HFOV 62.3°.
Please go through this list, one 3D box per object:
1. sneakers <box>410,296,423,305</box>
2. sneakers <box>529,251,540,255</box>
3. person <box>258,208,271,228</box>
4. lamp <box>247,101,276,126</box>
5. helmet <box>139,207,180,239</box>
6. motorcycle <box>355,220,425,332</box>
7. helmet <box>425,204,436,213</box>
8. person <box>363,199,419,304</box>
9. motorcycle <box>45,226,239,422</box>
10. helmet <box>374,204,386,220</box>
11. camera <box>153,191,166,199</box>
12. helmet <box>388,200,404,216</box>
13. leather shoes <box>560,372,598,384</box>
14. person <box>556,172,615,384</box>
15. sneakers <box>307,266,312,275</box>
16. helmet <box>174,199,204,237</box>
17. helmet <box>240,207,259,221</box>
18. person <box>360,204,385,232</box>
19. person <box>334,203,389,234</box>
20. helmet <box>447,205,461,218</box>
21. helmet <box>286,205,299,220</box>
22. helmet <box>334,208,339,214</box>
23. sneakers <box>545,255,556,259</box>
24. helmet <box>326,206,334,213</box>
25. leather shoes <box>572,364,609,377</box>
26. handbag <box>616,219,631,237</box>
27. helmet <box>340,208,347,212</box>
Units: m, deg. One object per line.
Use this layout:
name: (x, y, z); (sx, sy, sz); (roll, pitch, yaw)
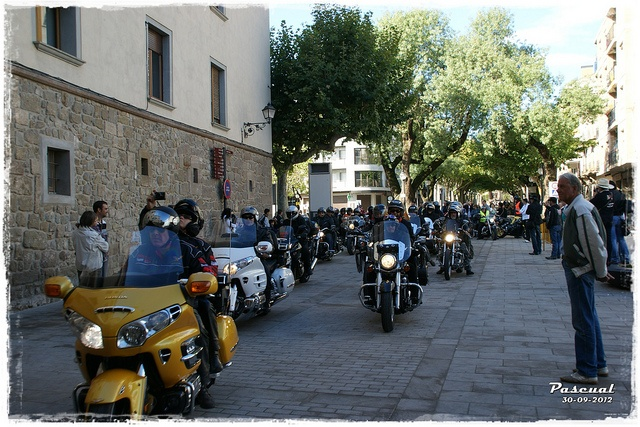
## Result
sneakers: (1.831, 1.658, 10.180); (0.158, 0.159, 0.057); (3, -5, 6)
sneakers: (8.557, 1.583, 21.252); (0.131, 0.157, 0.381); (-2, 9, -28)
person: (-2.252, 0.157, 21.404); (0.412, 0.728, 0.709); (0, 7, -9)
lamp: (-2.624, -4.358, 23.393); (1.361, 0.773, 0.875); (-5, -2, 20)
helmet: (-1.964, 0.164, 6.514); (0.324, 0.390, 0.405); (-10, -27, 30)
motorcycle: (1.285, 1.143, 10.176); (1.003, 2.004, 0.925); (-4, 4, -39)
helmet: (3.915, -0.178, 18.738); (0.273, 0.304, 0.348); (1, -7, 5)
person: (1.539, 0.554, 11.407); (0.995, 1.196, 2.067); (-2, -3, 9)
motorcycle: (-2.017, 1.243, 5.964); (1.514, 2.140, 0.958); (-3, 4, -29)
helmet: (1.539, -0.037, 13.844); (0.309, 0.389, 0.387); (-1, -5, 10)
camera: (-4.019, -0.428, 13.211); (0.378, 0.275, 0.102); (1, 8, 4)
helmet: (1.650, -0.099, 11.491); (0.261, 0.338, 0.352); (0, -7, 10)
leather shoes: (3.549, 2.257, 7.289); (0.450, 0.184, 0.171); (3, -6, 11)
person: (3.725, 0.857, 7.464); (0.657, 2.857, 0.845); (0, 4, 16)
sneakers: (-0.286, 1.670, 15.524); (0.194, 0.274, 0.146); (12, -20, -40)
helmet: (-1.832, 0.027, 7.384); (0.496, 0.479, 0.384); (-4, 7, -31)
helmet: (-1.407, -0.007, 10.598); (0.255, 0.295, 0.312); (-3, -12, 1)
person: (1.409, 0.069, 14.078); (0.421, 0.530, 0.955); (1, -1, 14)
person: (1.578, 0.244, 21.924); (1.070, 0.990, 1.780); (-3, -1, 23)
helmet: (3.914, -0.050, 15.481); (0.283, 0.343, 0.360); (-7, -23, 24)
helmet: (-0.824, -0.039, 15.935); (0.306, 0.372, 0.425); (-2, -1, 5)
helmet: (0.770, -0.128, 25.126); (0.187, 0.251, 0.250); (-2, -4, -1)
sneakers: (8.372, 1.597, 19.268); (0.108, 0.126, 0.286); (-3, 0, -44)
helmet: (0.413, -0.151, 22.840); (0.207, 0.267, 0.264); (3, -5, 0)
leather shoes: (3.777, 2.193, 7.432); (0.475, 0.210, 0.169); (1, -5, 22)
handbag: (8.881, 0.413, 15.549); (0.266, 0.502, 0.385); (-5, 11, 15)
helmet: (1.303, -0.144, 29.808); (0.243, 0.310, 0.305); (4, 6, -3)
